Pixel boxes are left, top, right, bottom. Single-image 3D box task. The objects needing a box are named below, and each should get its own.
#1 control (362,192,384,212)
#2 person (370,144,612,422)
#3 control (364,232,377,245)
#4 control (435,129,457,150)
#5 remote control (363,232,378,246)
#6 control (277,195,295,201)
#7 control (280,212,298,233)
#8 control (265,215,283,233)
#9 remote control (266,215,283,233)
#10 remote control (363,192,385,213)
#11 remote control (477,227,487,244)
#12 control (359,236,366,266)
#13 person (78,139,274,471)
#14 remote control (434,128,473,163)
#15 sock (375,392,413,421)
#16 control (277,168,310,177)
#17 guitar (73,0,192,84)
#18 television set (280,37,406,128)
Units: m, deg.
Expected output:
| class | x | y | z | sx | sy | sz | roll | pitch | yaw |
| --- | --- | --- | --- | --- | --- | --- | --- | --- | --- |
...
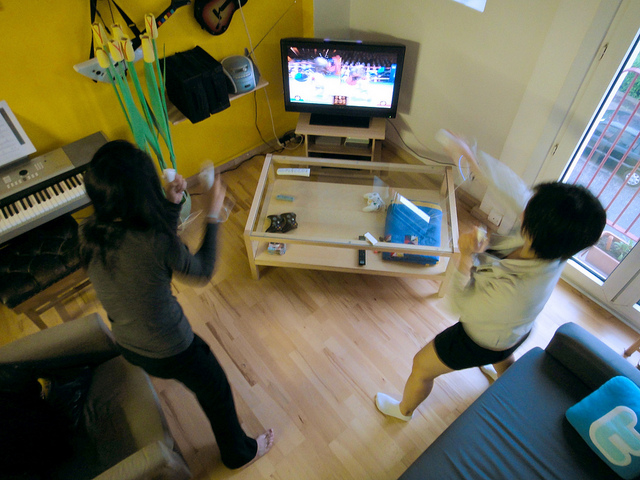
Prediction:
| class | x | y | z | sx | sy | sz | roll | pitch | yaw |
| --- | --- | --- | --- | --- | --- | --- | --- | --- | --- |
| control | 0.363 | -0.250 | 3.258 | 0.131 | 0.063 | 0.120 | -6 | 81 | 11 |
| person | 0.969 | 0.203 | 2.665 | 0.718 | 1.561 | 1.301 | 23 | 43 | 24 |
| control | 0.327 | -0.012 | 3.020 | 0.042 | 0.015 | 0.072 | -36 | 62 | -19 |
| control | 0.697 | -0.562 | 2.658 | 0.076 | 0.105 | 0.110 | 11 | 76 | -7 |
| remote control | 0.335 | -0.012 | 3.030 | 0.048 | 0.019 | 0.082 | -30 | 63 | -19 |
| control | -0.234 | -0.288 | 3.286 | 0.077 | 0.017 | 0.049 | 6 | 43 | 6 |
| control | -0.198 | -0.119 | 3.162 | 0.105 | 0.070 | 0.124 | -2 | 40 | -7 |
| control | -0.290 | -0.110 | 3.162 | 0.056 | 0.068 | 0.168 | 3 | 78 | 5 |
| remote control | -0.289 | -0.106 | 3.160 | 0.068 | 0.047 | 0.138 | 5 | 73 | 6 |
| remote control | 0.364 | -0.249 | 3.247 | 0.127 | 0.065 | 0.140 | -5 | 82 | 8 |
| remote control | 0.779 | -0.021 | 2.300 | 0.063 | 0.022 | 0.064 | -32 | 59 | -18 |
| control | 0.278 | 0.056 | 3.119 | 0.051 | 0.190 | 0.104 | 5 | 39 | 3 |
| person | -0.641 | 0.370 | 2.282 | 0.689 | 1.643 | 0.464 | 12 | 39 | 12 |
| remote control | 0.729 | -0.513 | 2.625 | 0.045 | 0.136 | 0.192 | -39 | 82 | 19 |
| sock | 0.440 | 0.982 | 2.838 | 0.210 | 0.071 | 0.108 | 25 | 63 | 15 |
| control | -0.180 | -0.477 | 3.340 | 0.249 | 0.068 | 0.052 | 1 | 61 | 9 |
| guitar | -1.190 | -1.240 | 2.978 | 0.570 | 0.233 | 0.091 | -33 | 18 | 14 |
| television set | 0.182 | -1.201 | 3.601 | 0.759 | 0.590 | 0.239 | 5 | 52 | 4 |
